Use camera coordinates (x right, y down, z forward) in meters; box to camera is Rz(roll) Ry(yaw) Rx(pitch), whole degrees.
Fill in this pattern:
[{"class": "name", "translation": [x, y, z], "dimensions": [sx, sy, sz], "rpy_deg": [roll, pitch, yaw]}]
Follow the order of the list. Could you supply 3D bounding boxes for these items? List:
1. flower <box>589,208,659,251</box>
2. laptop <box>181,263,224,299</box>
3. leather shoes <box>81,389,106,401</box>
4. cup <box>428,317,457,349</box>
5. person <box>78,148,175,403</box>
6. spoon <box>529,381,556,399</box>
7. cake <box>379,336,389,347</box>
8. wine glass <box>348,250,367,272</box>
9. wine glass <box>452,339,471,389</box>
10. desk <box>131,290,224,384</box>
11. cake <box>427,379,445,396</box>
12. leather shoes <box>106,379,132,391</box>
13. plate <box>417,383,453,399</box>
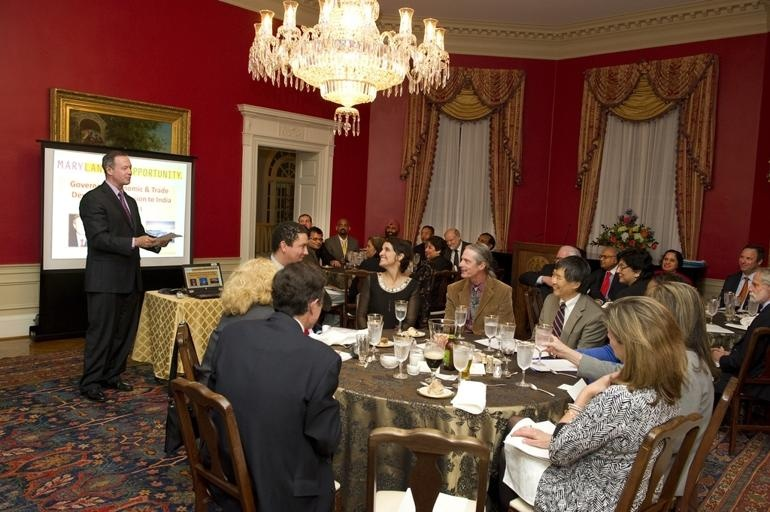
[{"class": "flower", "translation": [3.586, -0.299, 8.355], "dimensions": [0.907, 0.993, 0.892], "rpy_deg": [5, -4, -44]}, {"class": "laptop", "translation": [-1.840, 0.243, 5.557], "dimensions": [0.401, 0.322, 0.345], "rpy_deg": [2, -1, -41]}, {"class": "leather shoes", "translation": [-2.717, 1.278, 5.124], "dimensions": [0.256, 0.127, 0.109], "rpy_deg": [5, 4, 29]}, {"class": "cup", "translation": [0.402, 0.541, 3.954], "dimensions": [0.161, 0.287, 0.217], "rpy_deg": [-1, -3, 35]}, {"class": "person", "translation": [-2.540, 0.176, 5.178], "dimensions": [0.633, 2.331, 0.517], "rpy_deg": [1, 3, -33]}, {"class": "spoon", "translation": [1.034, 0.893, 3.651], "dimensions": [0.053, 0.046, 0.248], "rpy_deg": [-16, 15, -24]}, {"class": "cake", "translation": [-0.010, 0.668, 4.268], "dimensions": [0.051, 0.061, 0.057], "rpy_deg": [0, 1, -6]}, {"class": "wine glass", "translation": [-0.417, 0.060, 7.834], "dimensions": [0.230, 0.207, 0.253], "rpy_deg": [0, 3, -5]}, {"class": "wine glass", "translation": [0.524, 0.714, 3.722], "dimensions": [0.111, 0.282, 0.413], "rpy_deg": [3, 2, 11]}, {"class": "desk", "translation": [-2.133, 0.631, 5.655], "dimensions": [0.955, 0.811, 0.982], "rpy_deg": [5, 4, -40]}, {"class": "cake", "translation": [0.322, 0.842, 3.529], "dimensions": [0.087, 0.042, 0.087], "rpy_deg": [0, -1, -38]}, {"class": "leather shoes", "translation": [-2.586, 1.250, 5.389], "dimensions": [0.255, 0.140, 0.105], "rpy_deg": [-1, -1, -2]}, {"class": "plate", "translation": [0.327, 0.858, 3.575], "dimensions": [0.236, 0.102, 0.183], "rpy_deg": [4, 2, 4]}]
